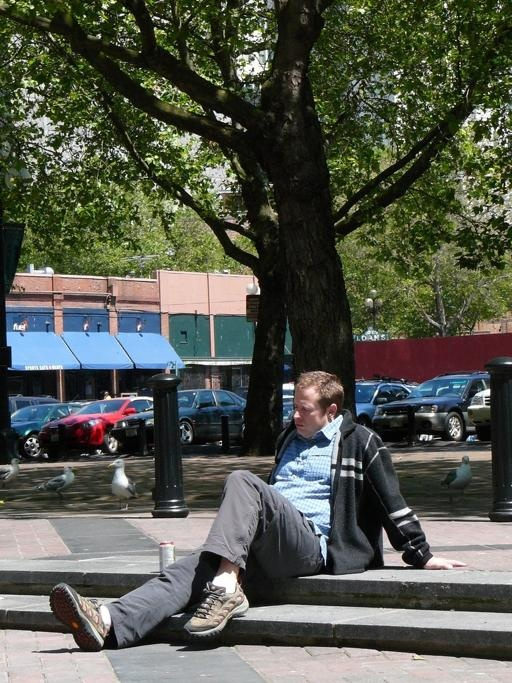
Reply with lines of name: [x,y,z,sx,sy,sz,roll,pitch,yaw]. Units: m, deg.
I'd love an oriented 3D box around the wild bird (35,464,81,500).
wild bird: [-2.620,1.793,10.911,0.752,0.436,0.292,-4,3,13]

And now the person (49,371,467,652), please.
person: [-0.042,0.689,3.905,1.733,0.848,1.246,-1,-1,-42]
